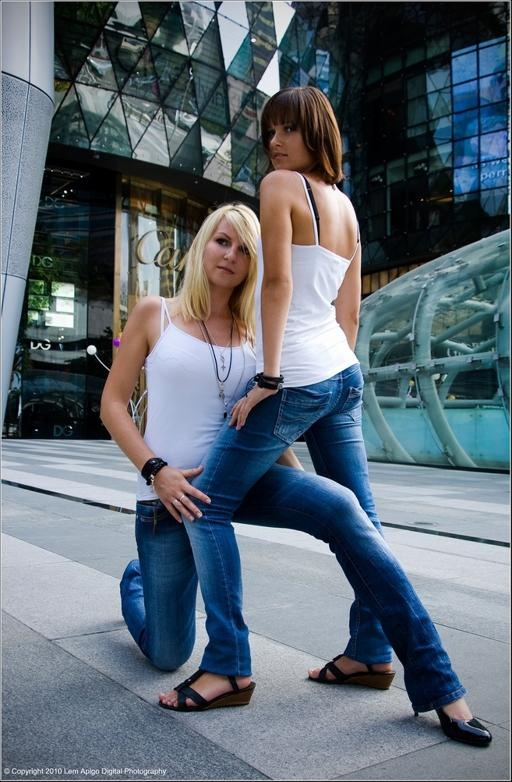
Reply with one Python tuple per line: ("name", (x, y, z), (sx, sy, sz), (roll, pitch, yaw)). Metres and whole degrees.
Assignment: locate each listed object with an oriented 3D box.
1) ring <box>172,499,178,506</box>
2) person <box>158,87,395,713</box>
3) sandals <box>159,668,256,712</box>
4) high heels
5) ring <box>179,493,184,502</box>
("ring", (-0.233, 0.322, 1.823), (0.007, 0.016, 0.018), (-35, 8, -21))
("person", (0.065, -0.011, 1.951), (0.751, 1.832, 0.363), (1, -3, -33))
("sandals", (-0.135, 0.847, 1.796), (0.245, 0.101, 0.113), (4, -13, -6))
("high heels", (0.537, 0.853, 1.612), (0.083, 0.068, 0.135), (-1, 1, -23))
("ring", (-0.215, 0.307, 1.814), (0.016, 0.020, 0.008), (-2, 2, 5))
